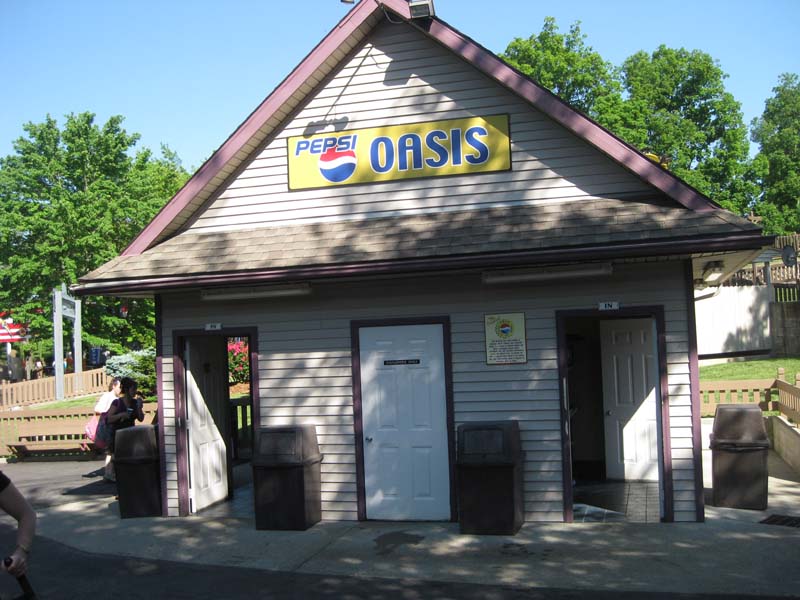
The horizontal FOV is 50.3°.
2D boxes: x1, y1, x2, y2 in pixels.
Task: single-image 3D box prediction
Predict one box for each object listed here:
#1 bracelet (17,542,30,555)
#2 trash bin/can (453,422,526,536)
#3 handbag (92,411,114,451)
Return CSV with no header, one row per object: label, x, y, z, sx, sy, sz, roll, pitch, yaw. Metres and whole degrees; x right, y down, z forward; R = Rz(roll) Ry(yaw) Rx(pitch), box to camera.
bracelet,-3.903,2.574,8.855,0.031,0.100,0.105,-8,-5,34
trash bin/can,1.464,2.826,13.679,1.118,1.751,0.603,-3,5,-4
handbag,-5.957,2.633,17.166,0.288,0.798,0.612,5,-5,-26
